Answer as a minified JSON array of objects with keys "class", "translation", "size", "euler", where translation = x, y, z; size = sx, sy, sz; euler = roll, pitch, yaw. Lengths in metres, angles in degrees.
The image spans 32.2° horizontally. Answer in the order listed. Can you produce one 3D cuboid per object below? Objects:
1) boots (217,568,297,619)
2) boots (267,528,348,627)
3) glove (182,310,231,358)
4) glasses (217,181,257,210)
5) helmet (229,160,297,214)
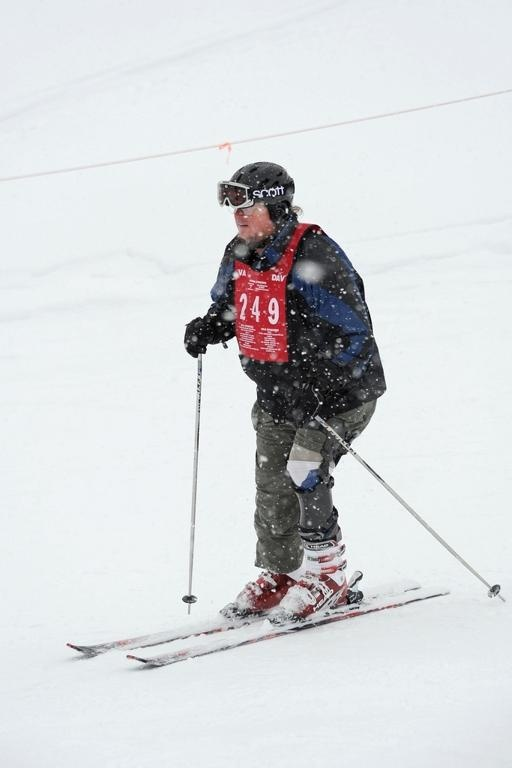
[{"class":"boots","translation":[0.049,1.251,5.449],"size":[0.181,0.203,0.578],"euler":[21,32,40]},{"class":"boots","translation":[0.328,1.152,5.217],"size":[0.197,0.449,0.555],"euler":[-7,-5,43]},{"class":"glove","translation":[-0.303,-0.319,5.565],"size":[0.359,0.206,0.147],"euler":[-31,-4,1]},{"class":"glasses","translation":[-0.116,-1.076,5.028],"size":[0.160,0.096,0.210],"euler":[9,9,37]},{"class":"helmet","translation":[0.035,-1.133,5.167],"size":[0.470,0.317,0.321],"euler":[-9,21,-27]}]
